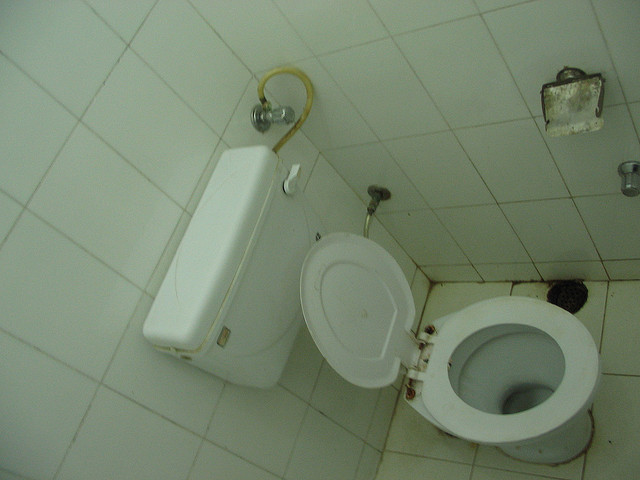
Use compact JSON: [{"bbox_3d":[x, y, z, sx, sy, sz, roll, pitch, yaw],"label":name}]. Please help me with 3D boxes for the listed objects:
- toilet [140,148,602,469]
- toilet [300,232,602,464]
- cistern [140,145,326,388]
[{"bbox_3d":[0.186,0.259,1.929,0.984,0.926,0.576,17,73,26],"label":"toilet"},{"bbox_3d":[0.513,0.392,1.849,0.695,1.122,0.564,-15,41,41],"label":"toilet"},{"bbox_3d":[-0.197,0.078,1.897,0.373,0.448,0.721,6,78,45],"label":"cistern"}]
